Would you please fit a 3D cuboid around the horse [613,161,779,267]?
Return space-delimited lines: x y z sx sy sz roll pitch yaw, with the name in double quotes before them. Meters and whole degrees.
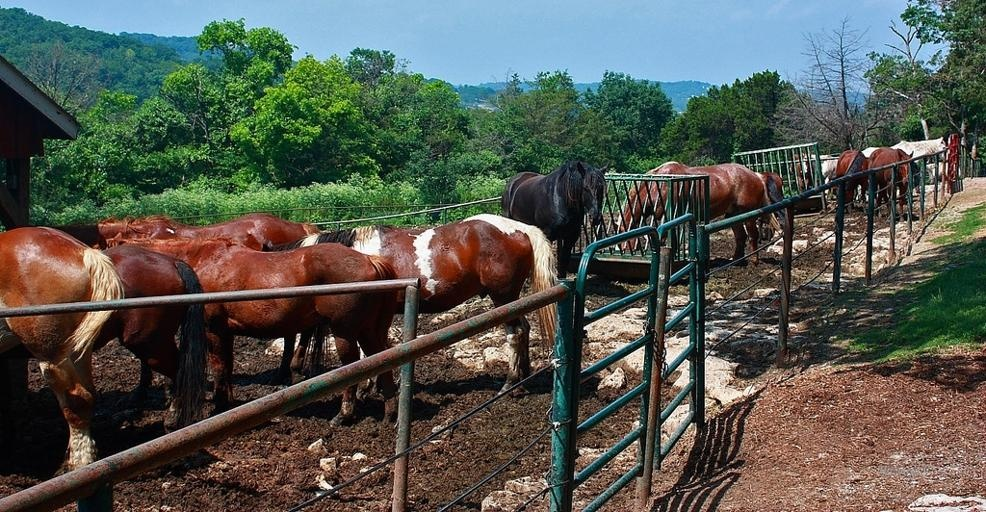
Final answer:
"horse" 5.454 -1.176 22.034 2.913 2.779 5.755 3 9 35

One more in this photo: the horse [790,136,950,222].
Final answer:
"horse" 14.659 -3.472 30.743 4.047 1.691 11.515 2 9 30
